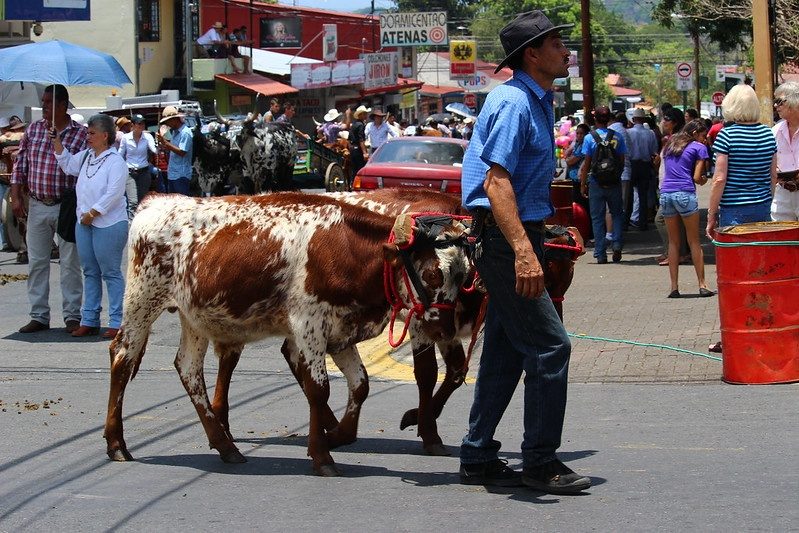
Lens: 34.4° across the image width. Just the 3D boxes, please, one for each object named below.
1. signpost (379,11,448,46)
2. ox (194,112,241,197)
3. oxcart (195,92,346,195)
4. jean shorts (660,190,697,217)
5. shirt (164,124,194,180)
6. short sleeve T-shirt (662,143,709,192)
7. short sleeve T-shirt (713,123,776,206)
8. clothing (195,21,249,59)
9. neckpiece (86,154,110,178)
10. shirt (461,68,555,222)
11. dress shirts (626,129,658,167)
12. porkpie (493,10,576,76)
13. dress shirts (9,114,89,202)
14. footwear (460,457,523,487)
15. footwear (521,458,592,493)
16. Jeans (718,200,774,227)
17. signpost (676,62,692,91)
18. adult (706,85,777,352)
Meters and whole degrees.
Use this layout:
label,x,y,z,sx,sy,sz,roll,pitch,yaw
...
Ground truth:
label,x,y,z,sx,sy,sz,roll,pitch,yaw
signpost,0.449,-8.443,46.172,2.734,1.245,0.063,-7,18,-25
ox,-3.188,-1.937,22.567,1.202,1.441,0.710,0,6,-14
oxcart,-2.559,-2.032,23.986,1.960,1.951,4.227,10,7,25
jean shorts,3.530,-0.781,16.435,0.451,0.291,0.336,-7,-12,44
shirt,-3.722,-1.883,21.898,0.420,0.850,0.558,-2,14,-4
short sleeve T-shirt,3.612,-1.254,16.431,0.617,0.547,0.320,-4,-30,43
short sleeve T-shirt,3.677,-1.067,13.822,1.005,0.982,0.584,-1,3,0
clothing,-6.405,-7.793,45.195,2.100,1.493,0.958,2,14,-15
neckpiece,-3.452,-1.120,14.581,0.306,0.251,0.155,9,17,37
shirt,0.886,-1.007,10.825,0.850,1.202,1.385,1,7,3
dress shirts,4.039,-1.981,21.737,0.743,0.547,0.371,-8,10,-41
porkpie,1.040,-1.911,10.605,0.617,0.230,0.507,-29,3,22
dress shirts,-4.209,-1.283,15.584,1.154,0.978,0.489,6,9,-45
footwear,0.744,1.728,10.758,0.560,0.207,0.199,0,-1,1
footwear,1.263,1.714,10.659,0.591,0.234,0.235,0,5,17
Jeans,3.716,-0.542,13.943,0.556,0.341,0.287,-1,-1,-9
signpost,9.494,-6.255,43.064,0.476,0.937,1.574,1,13,10
adult,3.692,-0.552,14.084,0.865,2.774,0.688,0,-1,-16
